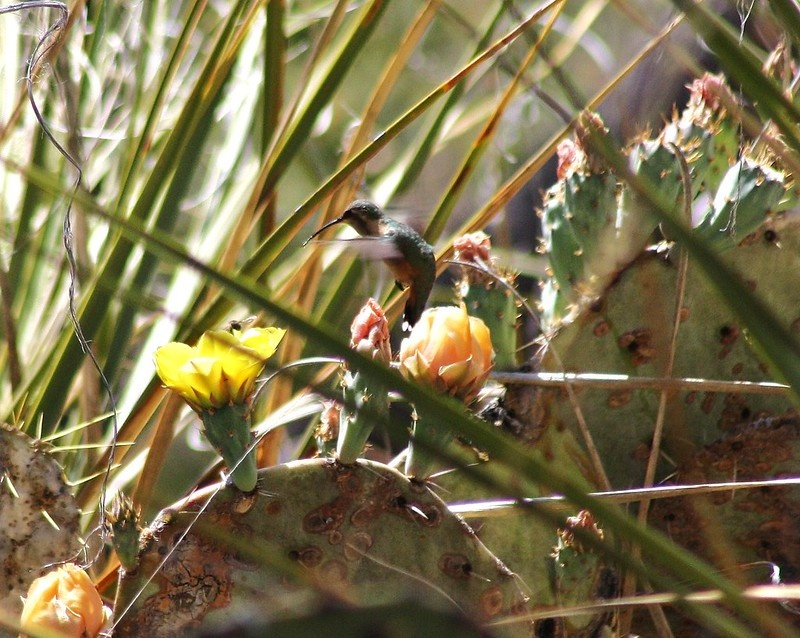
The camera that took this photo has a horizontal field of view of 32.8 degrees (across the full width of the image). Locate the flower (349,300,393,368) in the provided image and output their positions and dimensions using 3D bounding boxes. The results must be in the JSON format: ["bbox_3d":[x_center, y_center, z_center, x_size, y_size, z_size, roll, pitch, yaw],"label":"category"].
[{"bbox_3d":[-0.018,0.007,1.292,0.036,0.035,0.078,15,-33,16],"label":"flower"}]

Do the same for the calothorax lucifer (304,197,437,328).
[{"bbox_3d":[-0.029,-0.067,1.443,0.109,0.125,0.133,2,11,-26],"label":"calothorax lucifer"}]

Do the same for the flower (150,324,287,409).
[{"bbox_3d":[-0.170,0.060,1.276,0.099,0.062,0.105,-20,13,16],"label":"flower"}]

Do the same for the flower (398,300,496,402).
[{"bbox_3d":[0.047,0.026,1.318,0.069,0.099,0.086,-3,7,-15],"label":"flower"}]
